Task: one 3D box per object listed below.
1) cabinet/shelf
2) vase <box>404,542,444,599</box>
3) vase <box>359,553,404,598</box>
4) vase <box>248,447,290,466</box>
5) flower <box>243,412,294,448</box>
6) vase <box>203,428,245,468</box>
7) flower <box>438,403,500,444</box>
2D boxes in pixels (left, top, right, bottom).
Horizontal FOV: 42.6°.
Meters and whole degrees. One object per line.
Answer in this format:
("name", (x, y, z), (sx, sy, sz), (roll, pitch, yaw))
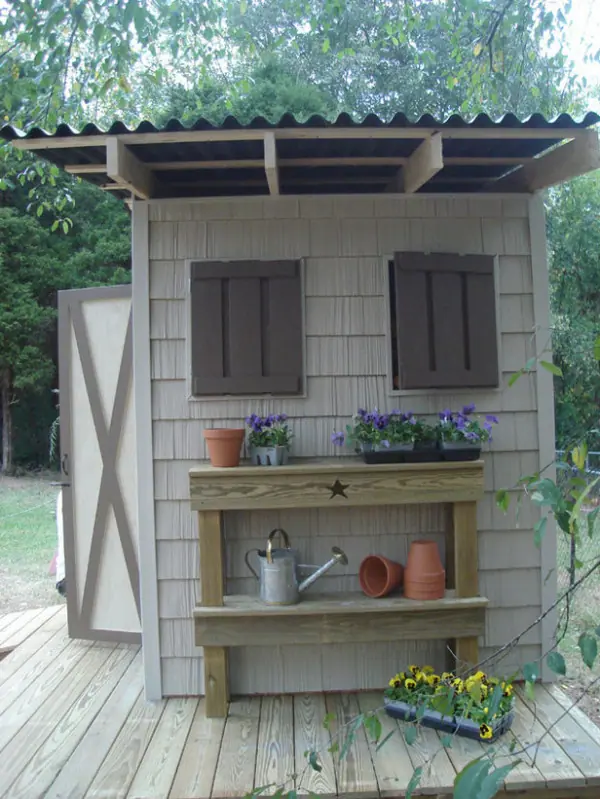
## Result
("cabinet/shelf", (0.116, 0.764, 3.087), (0.964, 0.861, 0.328), (-1, -3, -3))
("vase", (0.498, 0.684, 3.084), (0.199, 0.220, 0.192), (-4, -4, 38))
("vase", (0.329, 0.714, 3.182), (0.166, 0.169, 0.159), (0, -8, -33))
("vase", (-0.128, 0.229, 3.100), (0.110, 0.055, 0.075), (-2, -3, 23))
("flower", (-0.126, 0.131, 3.178), (0.191, 0.143, 0.213), (-2, 4, -4))
("vase", (-0.303, 0.195, 3.072), (0.149, 0.126, 0.145), (3, -5, -9))
("flower", (0.677, 0.115, 3.154), (0.212, 0.155, 0.178), (1, -6, -4))
